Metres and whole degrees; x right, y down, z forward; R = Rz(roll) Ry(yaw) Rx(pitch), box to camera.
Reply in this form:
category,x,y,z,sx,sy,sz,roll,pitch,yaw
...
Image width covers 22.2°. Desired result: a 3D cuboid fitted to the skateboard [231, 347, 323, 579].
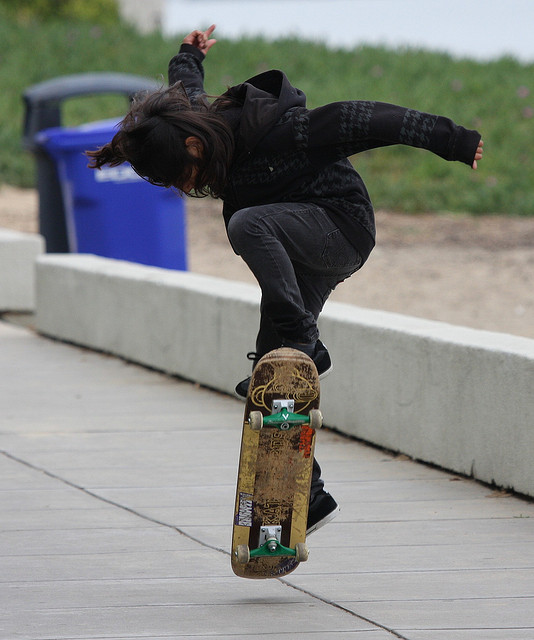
category,x,y,z,sx,sy,sz,roll,pitch,yaw
skateboard,-0.002,0.465,4.399,0.300,0.742,0.125,3,16,-23

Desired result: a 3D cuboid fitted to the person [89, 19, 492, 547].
category,x,y,z,sx,sy,sz,roll,pitch,yaw
person,0.111,-0.290,4.621,1.330,1.773,1.032,0,-15,15
